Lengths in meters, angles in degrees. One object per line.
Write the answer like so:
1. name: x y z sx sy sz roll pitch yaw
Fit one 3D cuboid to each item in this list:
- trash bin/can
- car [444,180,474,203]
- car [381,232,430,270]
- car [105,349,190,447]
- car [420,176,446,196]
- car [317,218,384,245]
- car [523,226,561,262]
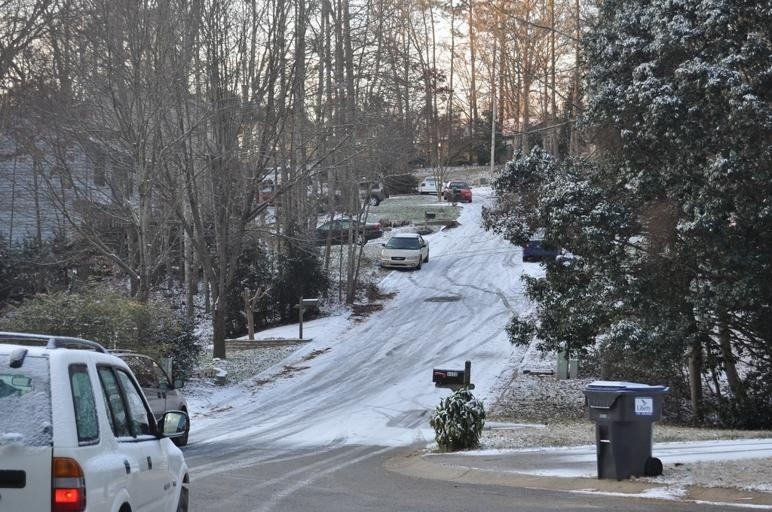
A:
1. trash bin/can: 6.509 4.658 33.210 2.176 3.487 2.171 -1 2 -32
2. car: 4.916 -4.259 84.394 1.712 1.572 1.936 -2 -4 -11
3. car: 0.974 -0.168 64.065 1.938 1.997 2.628 -4 -4 19
4. car: -7.283 4.357 36.904 1.785 2.631 3.929 -8 -4 12
5. car: 3.196 -4.954 90.333 0.965 0.886 2.427 1 8 8
6. car: -1.857 -1.074 65.624 3.299 1.215 1.524 1 3 -3
7. car: 7.313 -0.483 60.682 1.424 1.443 3.087 -1 12 5
